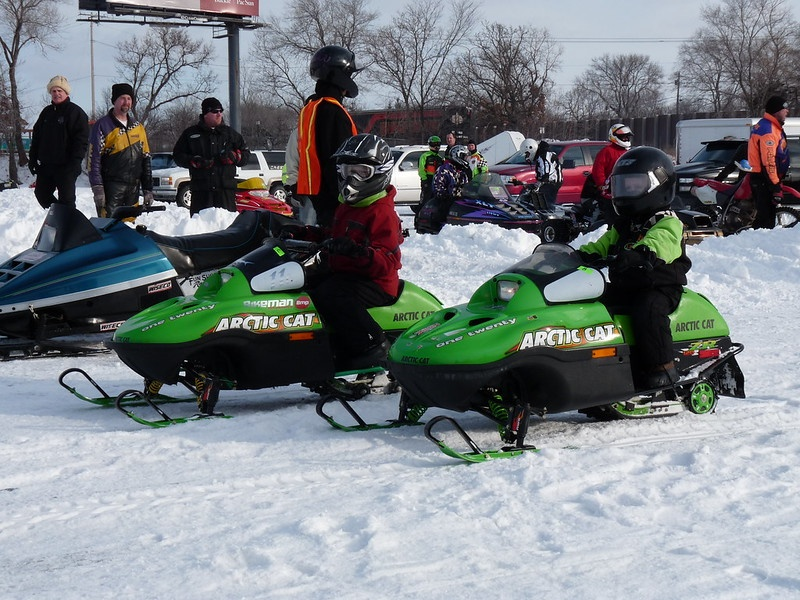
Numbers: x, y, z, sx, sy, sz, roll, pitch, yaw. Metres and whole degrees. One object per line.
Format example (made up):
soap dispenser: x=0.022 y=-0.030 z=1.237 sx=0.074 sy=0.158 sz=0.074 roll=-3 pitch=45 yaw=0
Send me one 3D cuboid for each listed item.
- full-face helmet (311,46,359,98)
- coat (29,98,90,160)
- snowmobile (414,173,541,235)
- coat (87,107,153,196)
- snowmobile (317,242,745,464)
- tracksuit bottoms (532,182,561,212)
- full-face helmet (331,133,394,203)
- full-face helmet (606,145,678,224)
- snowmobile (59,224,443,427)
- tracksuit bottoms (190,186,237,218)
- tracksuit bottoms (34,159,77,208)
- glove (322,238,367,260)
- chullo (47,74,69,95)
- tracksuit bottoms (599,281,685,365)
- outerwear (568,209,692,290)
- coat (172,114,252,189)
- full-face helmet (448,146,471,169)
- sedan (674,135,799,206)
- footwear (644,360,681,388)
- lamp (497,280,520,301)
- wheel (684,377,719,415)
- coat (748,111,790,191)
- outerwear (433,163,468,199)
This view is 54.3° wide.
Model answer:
full-face helmet: x=-0.600 y=-2.056 z=6.978 sx=0.411 sy=0.463 sz=0.381 roll=-2 pitch=11 yaw=-5
coat: x=-4.545 y=-2.294 z=10.541 sx=1.132 sy=0.901 sz=0.518 roll=9 pitch=13 yaw=31
snowmobile: x=1.490 y=-1.865 z=15.210 sx=2.202 sy=0.800 sz=1.259 roll=3 pitch=6 yaw=39
coat: x=-3.807 y=-2.050 z=10.547 sx=0.864 sy=1.034 sz=0.529 roll=-7 pitch=13 yaw=-25
snowmobile: x=1.032 y=0.265 z=5.639 sx=3.072 sy=1.058 sz=1.199 roll=-2 pitch=2 yaw=-29
tracksuit bottoms: x=2.848 y=-2.024 z=15.127 sx=0.392 sy=0.534 sz=0.743 roll=1 pitch=11 yaw=9
full-face helmet: x=-0.278 y=-1.006 z=5.971 sx=0.454 sy=0.527 sz=0.306 roll=-2 pitch=12 yaw=-2
full-face helmet: x=1.714 y=-0.867 z=5.622 sx=0.450 sy=0.425 sz=0.525 roll=5 pitch=11 yaw=40
snowmobile: x=-0.968 y=0.174 z=6.047 sx=3.117 sy=1.075 sz=0.939 roll=-4 pitch=8 yaw=-37
tracksuit bottoms: x=-2.743 y=-1.344 z=11.326 sx=0.684 sy=0.397 sz=0.369 roll=1 pitch=-1 yaw=34
tracksuit bottoms: x=-4.651 y=-1.486 z=10.604 sx=0.311 sy=0.721 sz=0.231 roll=-5 pitch=24 yaw=-33
glove: x=-0.372 y=-0.372 z=5.645 sx=0.168 sy=0.071 sz=0.224 roll=11 pitch=1 yaw=40
chullo: x=-4.450 y=-2.814 z=10.166 sx=0.208 sy=0.203 sz=0.354 roll=-7 pitch=12 yaw=-28
tracksuit bottoms: x=1.615 y=0.156 z=5.225 sx=0.496 sy=0.536 sz=0.263 roll=3 pitch=-3 yaw=25
outerwear: x=1.654 y=-0.363 z=5.557 sx=0.734 sy=0.508 sz=0.944 roll=2 pitch=1 yaw=-28
coat: x=-2.697 y=-2.034 z=11.131 sx=1.139 sy=0.902 sz=0.540 roll=-5 pitch=22 yaw=-21
full-face helmet: x=1.165 y=-2.848 z=15.447 sx=0.572 sy=0.425 sz=0.410 roll=-1 pitch=10 yaw=1
sedan: x=7.810 y=-3.024 z=17.685 sx=3.505 sy=1.617 sz=1.934 roll=-1 pitch=4 yaw=-14
footwear: x=1.770 y=0.515 z=5.268 sx=0.272 sy=0.146 sz=0.129 roll=-3 pitch=3 yaw=-12
lamp: x=0.708 y=-0.060 z=5.055 sx=0.090 sy=0.131 sz=0.147 roll=-6 pitch=12 yaw=-22
wheel: x=2.155 y=0.702 z=5.612 sx=0.339 sy=0.275 sz=0.100 roll=0 pitch=1 yaw=-27
coat: x=5.898 y=-2.498 z=12.602 sx=0.730 sy=1.022 sz=1.293 roll=3 pitch=24 yaw=13
outerwear: x=0.954 y=-2.389 z=15.600 sx=1.090 sy=0.713 sz=0.660 roll=-5 pitch=12 yaw=-34
